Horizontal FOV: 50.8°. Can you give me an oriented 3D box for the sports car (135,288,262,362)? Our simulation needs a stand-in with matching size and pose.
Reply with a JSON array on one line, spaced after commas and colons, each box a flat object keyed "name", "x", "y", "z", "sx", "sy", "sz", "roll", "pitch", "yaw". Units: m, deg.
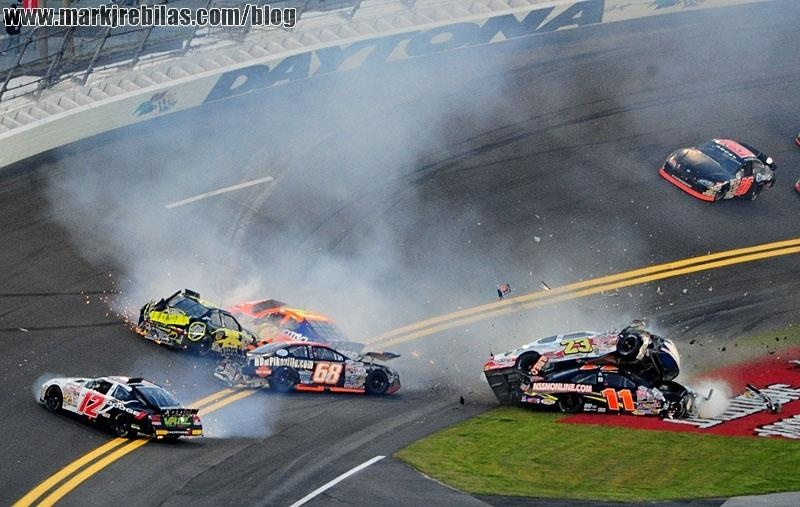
[{"name": "sports car", "x": -7.147, "y": 2.501, "z": 30.658, "sx": 3.263, "sy": 1.554, "sz": 4.908, "roll": 18, "pitch": 2, "yaw": 26}]

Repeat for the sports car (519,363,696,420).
[{"name": "sports car", "x": 7.120, "y": 4.640, "z": 28.407, "sx": 4.822, "sy": 1.084, "sz": 2.144, "roll": 1, "pitch": 10, "yaw": 3}]
